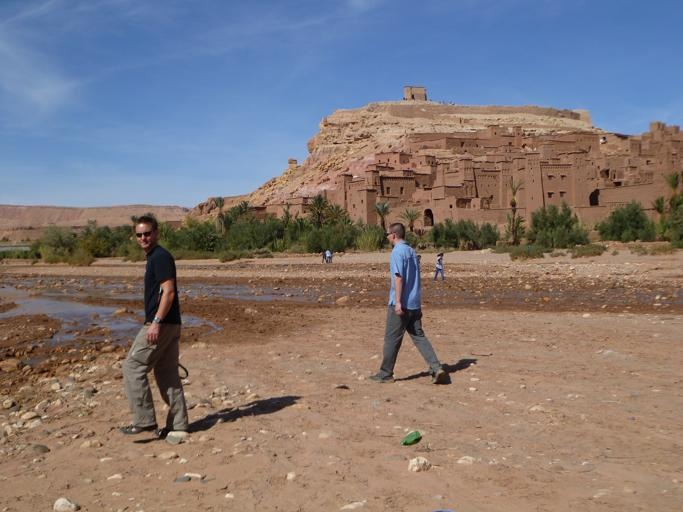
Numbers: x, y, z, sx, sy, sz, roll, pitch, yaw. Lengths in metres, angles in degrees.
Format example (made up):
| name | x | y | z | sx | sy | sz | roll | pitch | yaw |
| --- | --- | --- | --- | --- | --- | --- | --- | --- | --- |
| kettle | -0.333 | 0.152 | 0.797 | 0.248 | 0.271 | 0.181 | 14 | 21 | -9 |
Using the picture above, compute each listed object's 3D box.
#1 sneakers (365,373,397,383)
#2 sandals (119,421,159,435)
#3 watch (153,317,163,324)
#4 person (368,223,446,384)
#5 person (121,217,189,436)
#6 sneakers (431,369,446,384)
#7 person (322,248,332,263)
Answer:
| name | x | y | z | sx | sy | sz | roll | pitch | yaw |
| --- | --- | --- | --- | --- | --- | --- | --- | --- | --- |
| sneakers | 0.486 | 1.475 | 6.488 | 0.319 | 0.118 | 0.121 | 1 | -11 | 18 |
| sandals | -1.961 | 1.655 | 5.164 | 0.385 | 0.113 | 0.143 | 4 | -15 | -1 |
| watch | -1.707 | 0.596 | 4.938 | 0.071 | 0.045 | 0.071 | 6 | -13 | 39 |
| person | 0.839 | 0.561 | 6.668 | 0.899 | 1.939 | 0.893 | -1 | 4 | 10 |
| person | -1.879 | 0.668 | 5.173 | 0.610 | 2.105 | 0.635 | -3 | 4 | -19 |
| sneakers | 1.188 | 1.419 | 6.309 | 0.199 | 0.185 | 0.158 | -2 | 4 | -1 |
| person | -0.811 | 0.093 | 30.034 | 0.493 | 0.519 | 0.945 | -1 | -3 | -1 |
